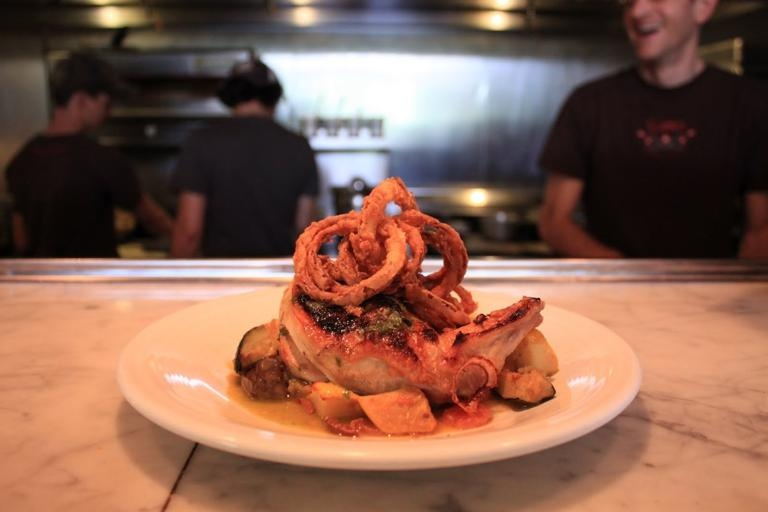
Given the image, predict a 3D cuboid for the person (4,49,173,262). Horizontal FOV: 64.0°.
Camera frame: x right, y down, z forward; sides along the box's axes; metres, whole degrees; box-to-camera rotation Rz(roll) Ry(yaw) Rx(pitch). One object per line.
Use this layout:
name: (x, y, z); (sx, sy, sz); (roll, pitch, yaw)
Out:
person: (-2.138, -0.668, 4.291); (0.944, 1.278, 1.045); (-12, 21, -29)
